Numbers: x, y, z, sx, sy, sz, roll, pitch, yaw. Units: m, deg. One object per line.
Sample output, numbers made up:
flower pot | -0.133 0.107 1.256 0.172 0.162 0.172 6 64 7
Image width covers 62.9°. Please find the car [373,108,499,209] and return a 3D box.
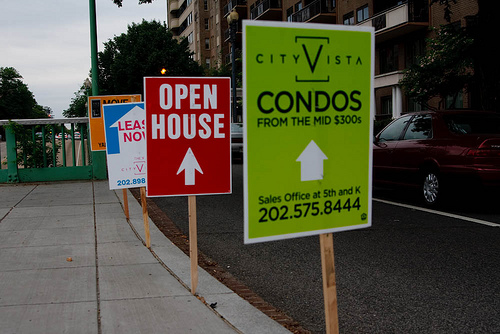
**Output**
car | 4.378 -0.200 9.608 0.966 2.233 2.945 -3 6 -31

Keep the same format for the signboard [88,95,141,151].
signboard | -2.547 -0.832 7.587 1.138 1.265 0.122 -5 18 -12
